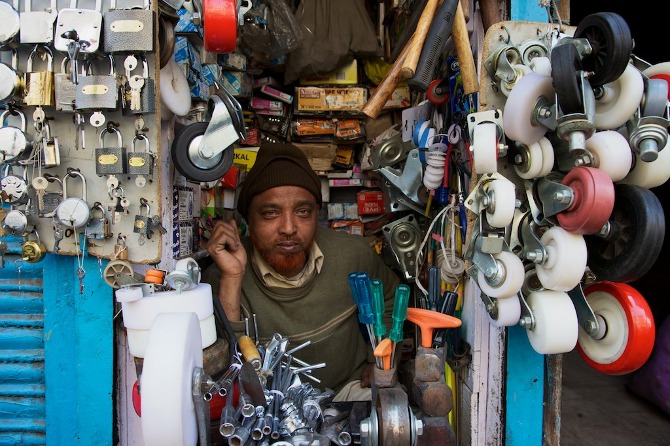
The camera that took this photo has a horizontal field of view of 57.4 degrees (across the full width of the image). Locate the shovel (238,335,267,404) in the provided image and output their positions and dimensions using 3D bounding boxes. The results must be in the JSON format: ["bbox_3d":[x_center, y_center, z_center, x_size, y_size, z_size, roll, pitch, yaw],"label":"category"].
[{"bbox_3d":[-0.406,0.700,3.048,0.123,0.048,0.361,13,26,-38],"label":"shovel"}]
